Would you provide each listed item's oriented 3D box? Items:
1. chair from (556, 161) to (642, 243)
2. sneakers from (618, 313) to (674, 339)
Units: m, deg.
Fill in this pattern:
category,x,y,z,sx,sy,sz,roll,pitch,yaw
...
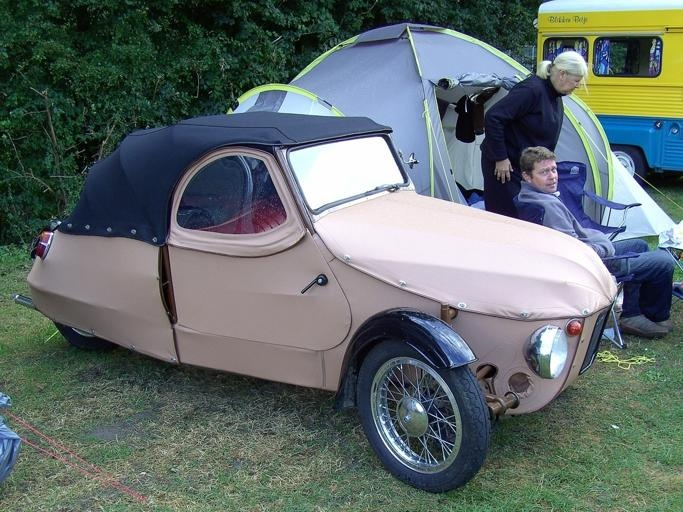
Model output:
category,x,y,z,sx,sy,sz,roll,pitch,yaw
chair,2.480,-0.580,5.657,0.808,0.791,0.838,-5,-1,-5
sneakers,2.830,0.661,5.400,0.346,0.145,0.241,4,17,30
